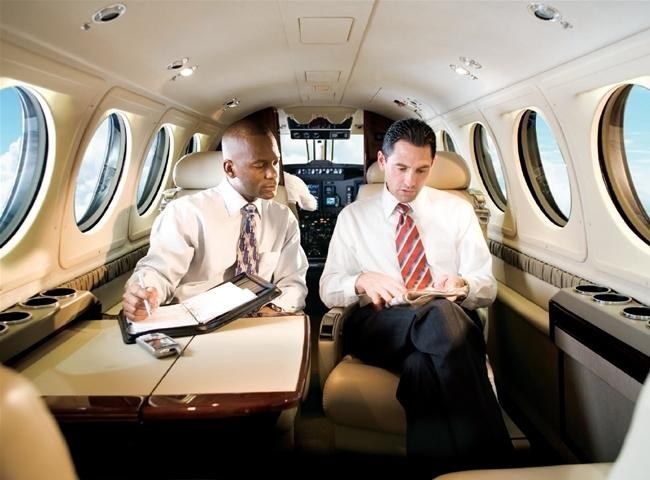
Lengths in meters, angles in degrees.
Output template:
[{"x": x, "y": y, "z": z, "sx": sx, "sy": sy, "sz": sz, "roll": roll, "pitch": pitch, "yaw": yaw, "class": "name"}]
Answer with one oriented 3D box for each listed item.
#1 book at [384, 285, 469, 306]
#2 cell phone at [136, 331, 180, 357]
[{"x": 0.530, "y": 0.301, "z": 2.221, "sx": 0.232, "sy": 0.066, "sz": 0.199, "roll": -7, "pitch": 1, "yaw": 44, "class": "book"}, {"x": -0.726, "y": 0.452, "z": 1.773, "sx": 0.164, "sy": 0.035, "sz": 0.092, "roll": 13, "pitch": 15, "yaw": 19, "class": "cell phone"}]
